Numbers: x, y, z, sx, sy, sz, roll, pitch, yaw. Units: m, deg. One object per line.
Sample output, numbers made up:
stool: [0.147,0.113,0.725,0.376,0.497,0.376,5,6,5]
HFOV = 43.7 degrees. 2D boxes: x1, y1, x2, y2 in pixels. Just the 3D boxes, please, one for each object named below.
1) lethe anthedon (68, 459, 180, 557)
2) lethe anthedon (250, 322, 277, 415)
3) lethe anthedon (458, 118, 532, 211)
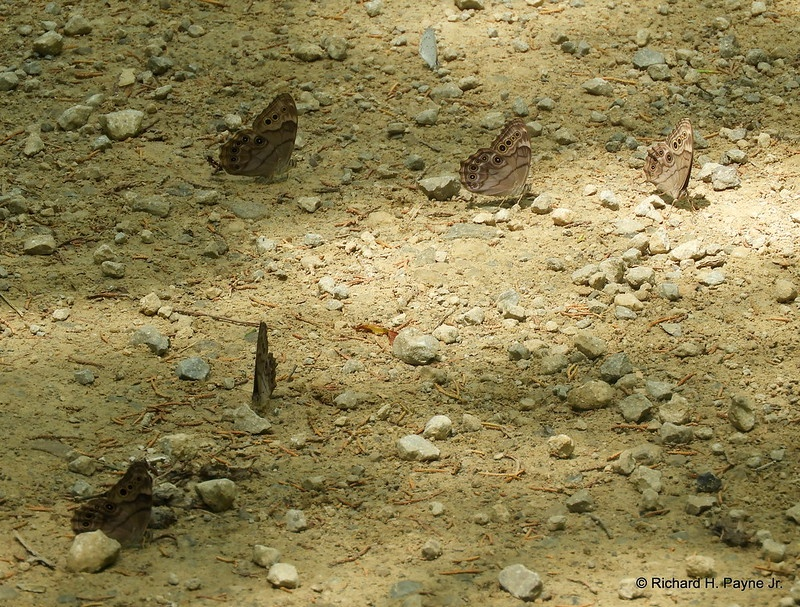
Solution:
lethe anthedon: [-1.573,1.200,5.776,0.528,0.533,0.315,-24,37,-12]
lethe anthedon: [-0.883,0.447,6.550,0.077,0.537,0.433,8,29,11]
lethe anthedon: [0.797,-1.069,7.710,0.601,0.412,0.352,-34,63,-4]
